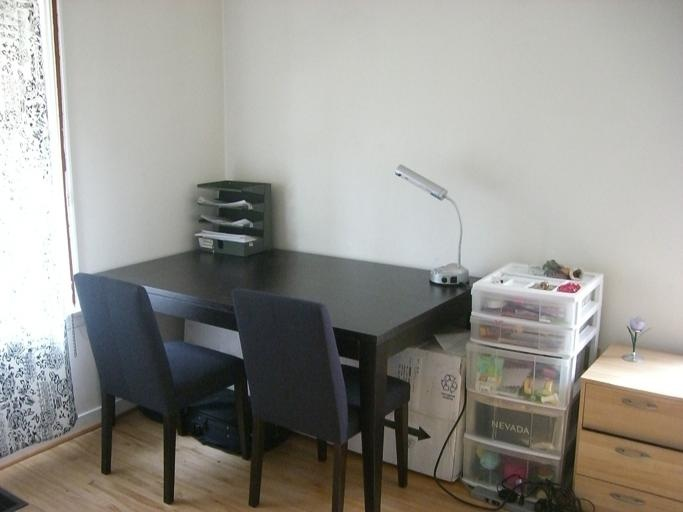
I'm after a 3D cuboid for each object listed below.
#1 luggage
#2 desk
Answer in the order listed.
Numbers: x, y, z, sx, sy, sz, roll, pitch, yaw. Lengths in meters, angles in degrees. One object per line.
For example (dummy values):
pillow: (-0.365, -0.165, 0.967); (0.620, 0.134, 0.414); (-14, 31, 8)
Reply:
luggage: (-0.664, 0.940, 3.131); (0.320, 0.140, 0.409); (-9, 21, -41)
desk: (-0.039, 0.211, 2.929); (1.930, 1.055, 1.102); (9, 16, 38)
